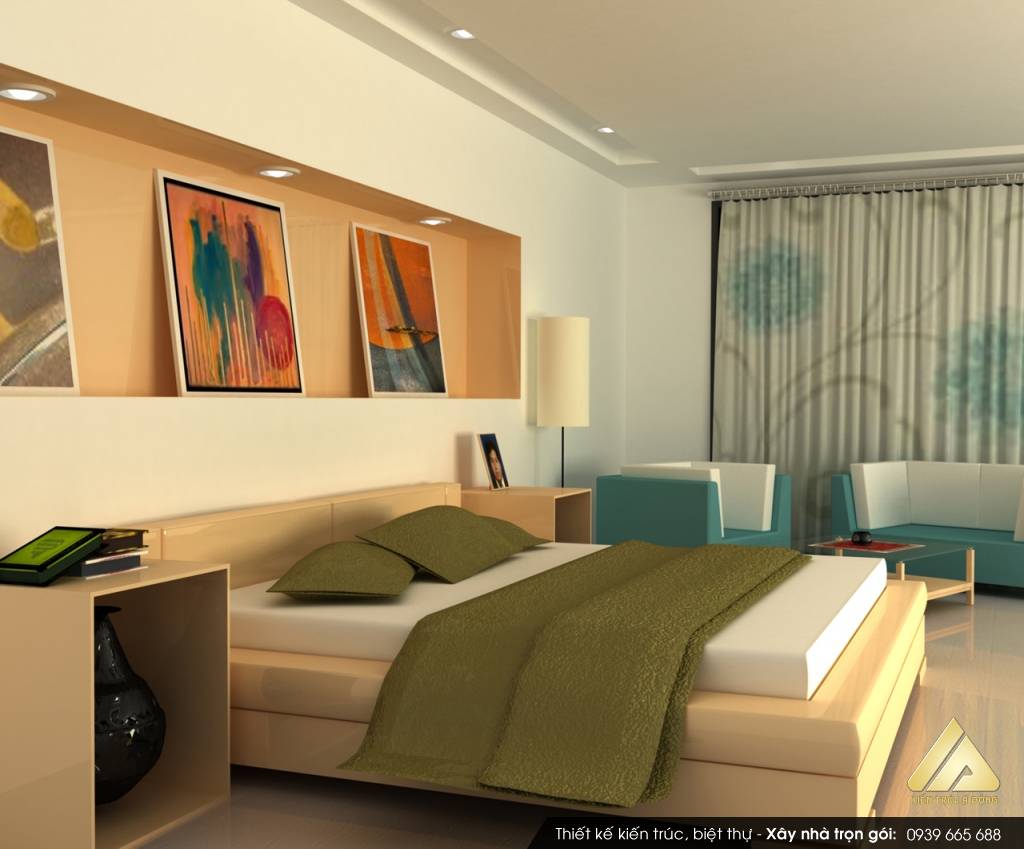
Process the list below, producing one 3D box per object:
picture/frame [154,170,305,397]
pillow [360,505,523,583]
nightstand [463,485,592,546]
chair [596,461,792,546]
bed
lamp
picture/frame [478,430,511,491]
[{"bbox_3d":[-1.207,-0.580,3.359,0.184,0.945,0.775,5,11,27],"label":"picture/frame"},{"bbox_3d":[-0.256,0.499,3.211,0.245,0.097,0.674,17,4,17],"label":"pillow"},{"bbox_3d":[0.144,0.537,4.780,0.439,0.511,0.578,-1,-1,23],"label":"nightstand"},{"bbox_3d":[1.170,0.566,5.145,0.746,0.704,0.812,-2,-3,35],"label":"chair"},{"bbox_3d":[0.059,0.759,2.292,1.514,0.539,1.520,0,0,25],"label":"bed"},{"bbox_3d":[0.375,-0.152,5.736,0.400,1.302,0.715,1,10,4],"label":"lamp"},{"bbox_3d":[-0.123,0.236,4.993,0.039,0.395,0.352,-16,3,18],"label":"picture/frame"}]
